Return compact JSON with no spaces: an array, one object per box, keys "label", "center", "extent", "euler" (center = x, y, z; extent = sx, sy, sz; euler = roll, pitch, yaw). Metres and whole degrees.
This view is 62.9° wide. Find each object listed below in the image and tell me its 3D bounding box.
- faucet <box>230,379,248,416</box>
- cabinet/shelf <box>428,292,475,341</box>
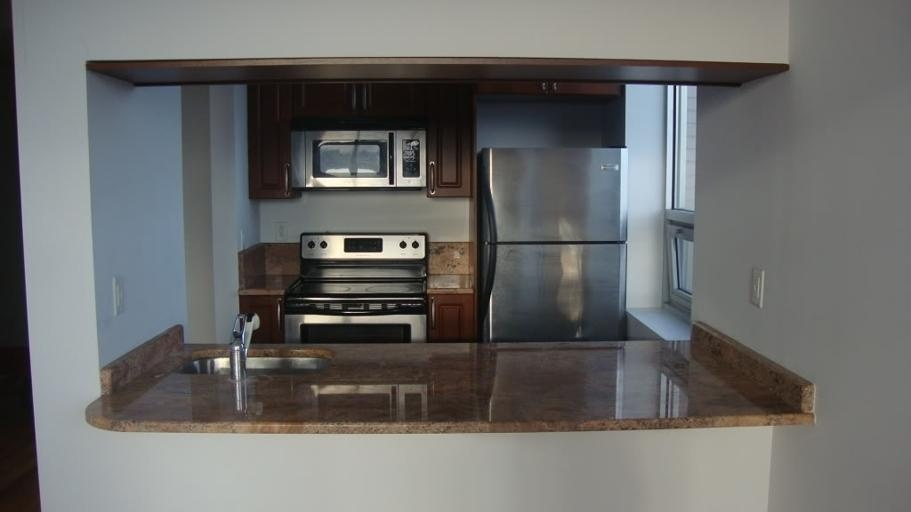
[{"label":"faucet","center":[-0.964,0.625,3.321],"extent":[0.054,0.046,0.204],"euler":[-11,52,-7]},{"label":"cabinet/shelf","center":[-0.020,0.402,5.063],"extent":[0.348,0.477,0.319],"euler":[0,-2,-5]}]
